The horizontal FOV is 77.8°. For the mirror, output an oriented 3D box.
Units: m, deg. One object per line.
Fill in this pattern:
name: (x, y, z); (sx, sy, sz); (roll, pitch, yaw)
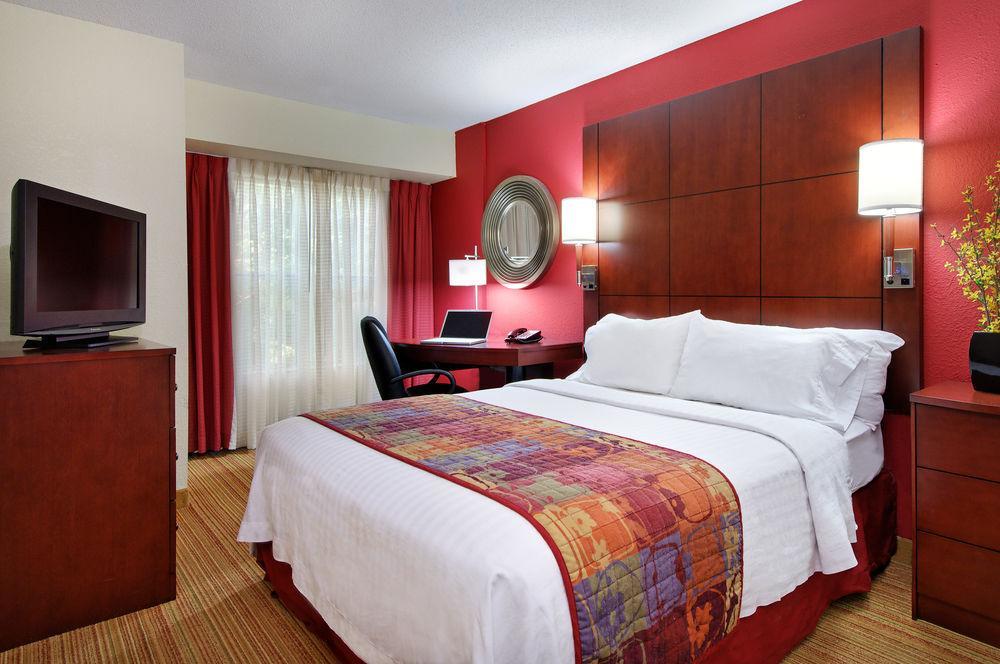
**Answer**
mirror: (0.205, -0.905, 5.767); (0.092, 1.182, 1.155); (-2, 1, -37)

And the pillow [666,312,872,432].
pillow: (1.587, 0.222, 3.735); (1.022, 0.455, 0.479); (10, 18, 37)

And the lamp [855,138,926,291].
lamp: (2.283, -0.668, 3.598); (0.334, 0.803, 0.303); (1, 2, 44)

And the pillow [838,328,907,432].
pillow: (2.201, 0.285, 3.828); (0.194, 0.593, 0.674); (20, 5, 37)

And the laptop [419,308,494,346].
laptop: (-0.359, -0.013, 5.539); (0.441, 0.257, 0.373); (-2, -3, 31)
